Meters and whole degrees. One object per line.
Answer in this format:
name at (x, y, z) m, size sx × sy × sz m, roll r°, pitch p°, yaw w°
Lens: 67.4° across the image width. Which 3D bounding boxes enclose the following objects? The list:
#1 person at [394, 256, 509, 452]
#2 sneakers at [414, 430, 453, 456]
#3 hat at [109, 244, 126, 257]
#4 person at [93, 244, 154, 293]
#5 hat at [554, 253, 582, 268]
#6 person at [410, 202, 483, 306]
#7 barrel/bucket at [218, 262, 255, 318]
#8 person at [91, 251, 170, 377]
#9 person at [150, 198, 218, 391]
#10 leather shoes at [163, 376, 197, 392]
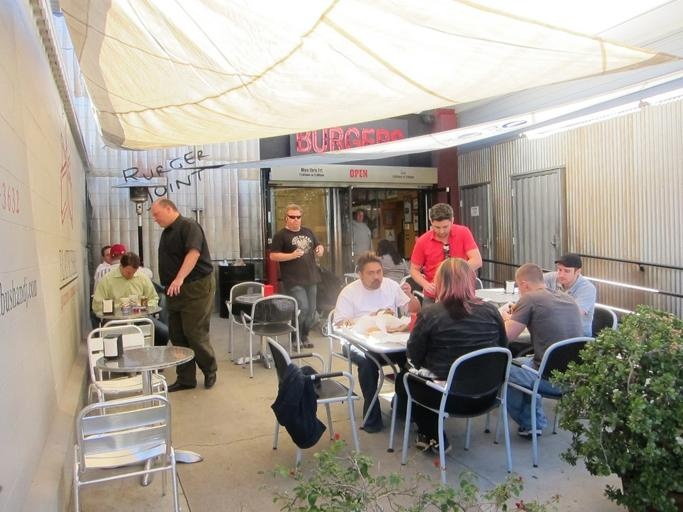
person at (0.815, 0.783, 3.731) m, size 0.729 × 1.517 × 0.470 m, roll 0°, pitch 6°, yaw 19°
sneakers at (0.713, 1.441, 4.011) m, size 0.154 × 0.119 × 0.234 m, roll -2°, pitch 5°, yaw -38°
hat at (-3.191, -0.060, 7.343) m, size 0.134 × 0.309 × 0.186 m, roll 8°, pitch 6°, yaw 0°
person at (-2.984, 0.179, 6.947) m, size 0.732 × 0.708 × 0.398 m, roll -2°, pitch 24°, yaw -25°
hat at (2.182, 0.083, 4.887) m, size 0.202 × 0.121 × 0.146 m, roll 17°, pitch 2°, yaw -11°
person at (1.088, 0.402, 5.364) m, size 0.684 × 1.884 × 0.659 m, roll -2°, pitch 21°, yaw 7°
barrel/bucket at (-1.890, 0.706, 9.845) m, size 0.747 × 1.037 × 0.812 m, roll -2°, pitch 0°, yaw 0°
person at (-2.429, 0.521, 5.957) m, size 0.782 × 1.147 × 0.766 m, roll 7°, pitch 9°, yaw 34°
person at (-1.694, 0.401, 5.561) m, size 0.613 × 2.018 × 0.703 m, roll -2°, pitch -1°, yaw -41°
leather shoes at (-1.715, 1.397, 5.514) m, size 0.342 × 0.152 × 0.118 m, roll 3°, pitch -7°, yaw -14°
